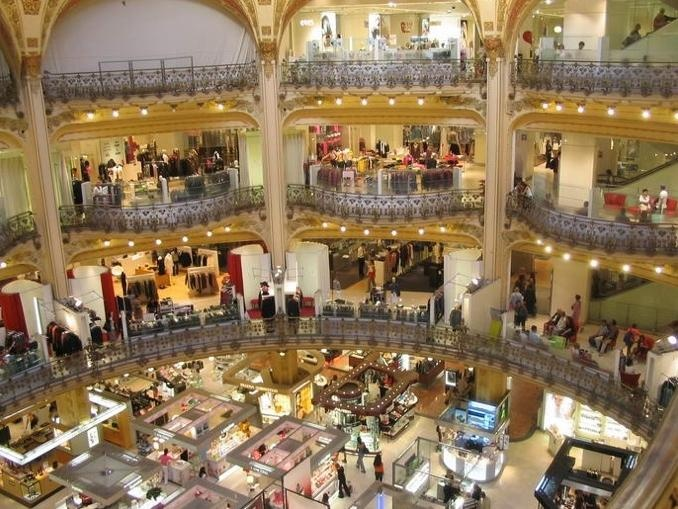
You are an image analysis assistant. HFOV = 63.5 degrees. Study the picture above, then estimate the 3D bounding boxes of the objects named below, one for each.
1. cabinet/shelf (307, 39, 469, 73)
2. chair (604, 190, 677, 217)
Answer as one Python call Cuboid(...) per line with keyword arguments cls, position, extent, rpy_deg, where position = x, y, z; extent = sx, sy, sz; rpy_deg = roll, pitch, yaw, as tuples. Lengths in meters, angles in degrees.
Cuboid(cls="cabinet/shelf", position=(1.778, -7.962, 21.840), extent=(6.365, 1.628, 0.517), rpy_deg=(1, 14, 18))
Cuboid(cls="chair", position=(9.359, -1.604, 17.172), extent=(2.043, 0.697, 0.309), rpy_deg=(7, 16, 36))
